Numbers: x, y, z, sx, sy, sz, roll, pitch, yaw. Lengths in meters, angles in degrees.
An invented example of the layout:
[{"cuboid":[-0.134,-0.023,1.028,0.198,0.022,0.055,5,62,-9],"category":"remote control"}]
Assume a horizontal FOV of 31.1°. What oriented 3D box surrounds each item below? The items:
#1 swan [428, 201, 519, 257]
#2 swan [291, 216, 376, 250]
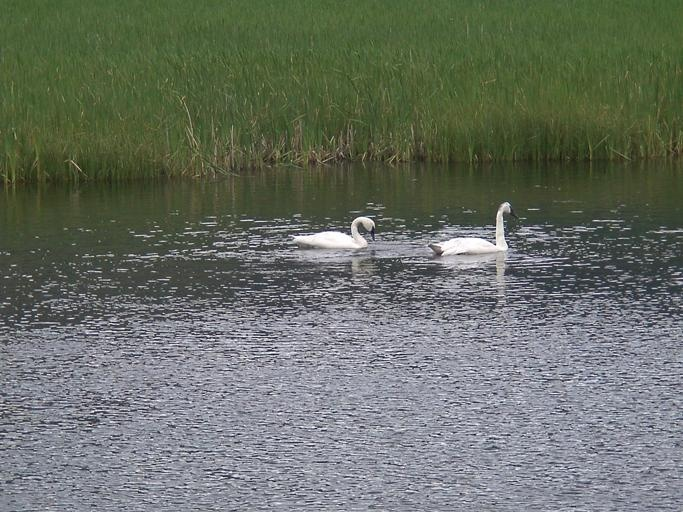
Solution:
[{"cuboid":[1.513,-0.279,14.619,1.181,0.654,0.399,-1,5,-26],"category":"swan"},{"cuboid":[-0.091,-0.296,15.132,1.135,0.438,0.389,0,6,-12],"category":"swan"}]
